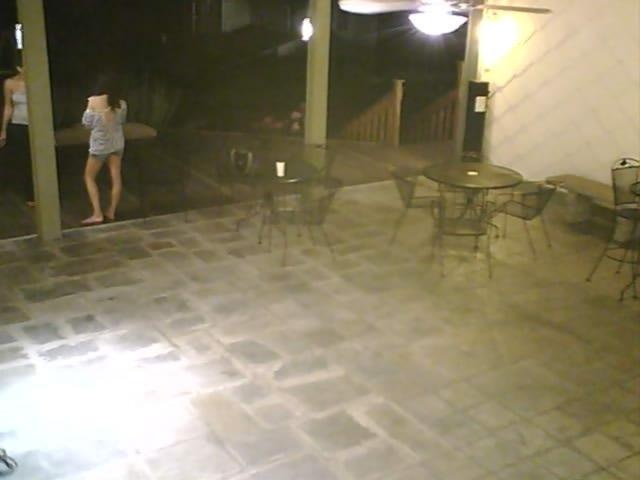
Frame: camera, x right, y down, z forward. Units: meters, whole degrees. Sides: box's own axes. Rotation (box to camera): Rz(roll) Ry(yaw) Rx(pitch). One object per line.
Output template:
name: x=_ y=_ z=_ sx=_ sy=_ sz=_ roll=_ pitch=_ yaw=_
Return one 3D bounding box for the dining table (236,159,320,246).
dining table: x=-0.238 y=-0.472 z=5.855 sx=1.115 sy=0.268 sz=1.072 roll=-17 pitch=7 yaw=42
